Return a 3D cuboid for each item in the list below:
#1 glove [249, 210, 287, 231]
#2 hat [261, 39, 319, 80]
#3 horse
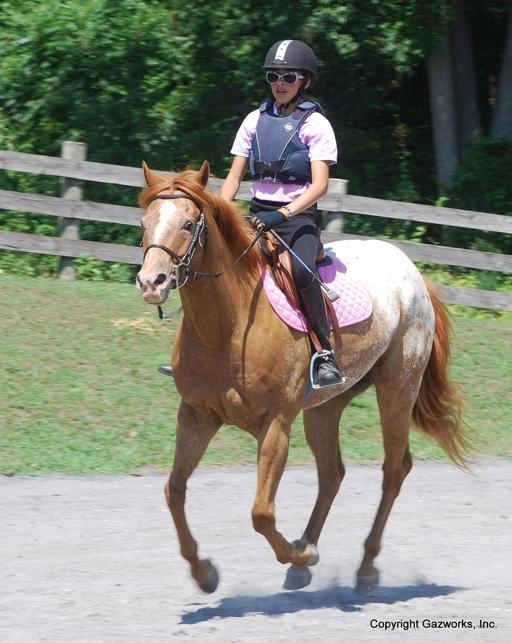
[{"bbox_3d":[0.078,-0.513,4.564,0.122,0.046,0.146,-21,9,-18],"label":"glove"},{"bbox_3d":[0.204,-1.412,4.890,0.230,0.140,0.257,0,-28,24],"label":"hat"},{"bbox_3d":[0.262,0.343,4.885,0.854,2.221,2.723,12,8,34],"label":"horse"}]
